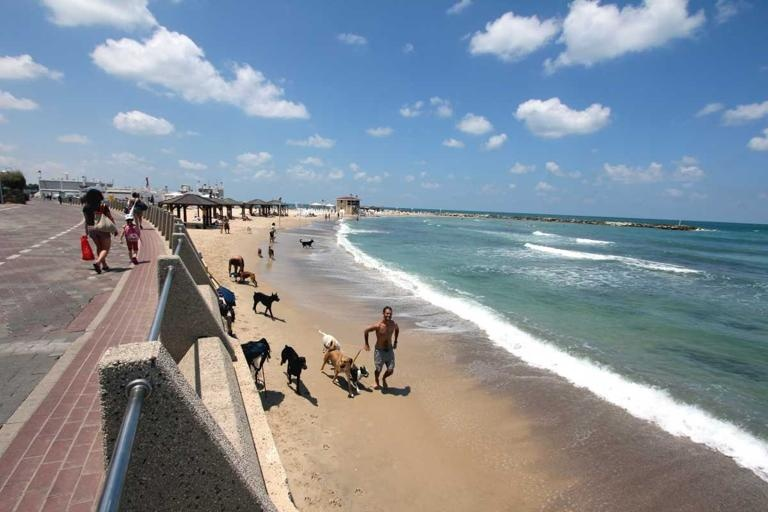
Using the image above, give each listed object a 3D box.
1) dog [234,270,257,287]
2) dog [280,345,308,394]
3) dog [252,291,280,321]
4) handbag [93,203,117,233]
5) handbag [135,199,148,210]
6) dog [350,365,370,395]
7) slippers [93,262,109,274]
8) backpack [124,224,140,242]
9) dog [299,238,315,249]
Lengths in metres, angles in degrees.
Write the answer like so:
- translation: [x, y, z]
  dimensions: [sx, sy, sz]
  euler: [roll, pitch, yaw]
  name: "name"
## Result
- translation: [-5.890, 0.972, 18.598]
  dimensions: [0.445, 0.501, 1.441]
  euler: [8, -6, 17]
  name: "dog"
- translation: [-2.431, 2.993, 11.577]
  dimensions: [0.608, 1.189, 0.959]
  euler: [2, 9, -10]
  name: "dog"
- translation: [-4.329, 1.672, 15.625]
  dimensions: [0.782, 0.921, 1.849]
  euler: [1, 9, -15]
  name: "dog"
- translation: [-8.350, -1.128, 12.875]
  dimensions: [0.533, 0.801, 0.494]
  euler: [1, 10, -14]
  name: "handbag"
- translation: [-9.996, -2.159, 17.669]
  dimensions: [0.433, 0.300, 0.617]
  euler: [-8, 3, -17]
  name: "handbag"
- translation: [-0.668, 3.363, 11.859]
  dimensions: [0.397, 0.824, 0.755]
  euler: [5, 10, 12]
  name: "dog"
- translation: [-8.611, 0.310, 13.085]
  dimensions: [0.356, 0.307, 0.730]
  euler: [1, 9, -11]
  name: "slippers"
- translation: [-8.140, -0.766, 13.871]
  dimensions: [0.378, 0.590, 0.400]
  euler: [-5, 13, -42]
  name: "backpack"
- translation: [-6.073, -1.034, 34.084]
  dimensions: [0.773, 0.683, 2.407]
  euler: [3, 9, -4]
  name: "dog"
